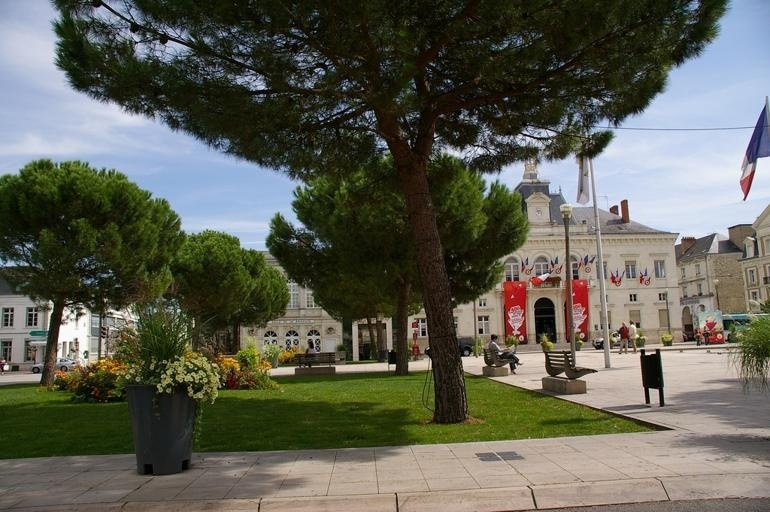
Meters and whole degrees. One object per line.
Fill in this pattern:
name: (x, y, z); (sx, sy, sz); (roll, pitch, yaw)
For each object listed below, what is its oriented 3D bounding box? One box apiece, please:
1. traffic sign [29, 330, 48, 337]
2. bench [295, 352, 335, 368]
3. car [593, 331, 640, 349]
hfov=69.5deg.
traffic sign: (-36.978, 8.207, 59.272); (1.908, 0.669, 0.504); (-5, -10, 17)
bench: (-3.839, 5.713, 30.820); (1.882, 0.746, 1.591); (-2, -10, 2)
car: (20.437, 7.015, 48.159); (4.239, 1.829, 2.045); (5, -14, -14)
